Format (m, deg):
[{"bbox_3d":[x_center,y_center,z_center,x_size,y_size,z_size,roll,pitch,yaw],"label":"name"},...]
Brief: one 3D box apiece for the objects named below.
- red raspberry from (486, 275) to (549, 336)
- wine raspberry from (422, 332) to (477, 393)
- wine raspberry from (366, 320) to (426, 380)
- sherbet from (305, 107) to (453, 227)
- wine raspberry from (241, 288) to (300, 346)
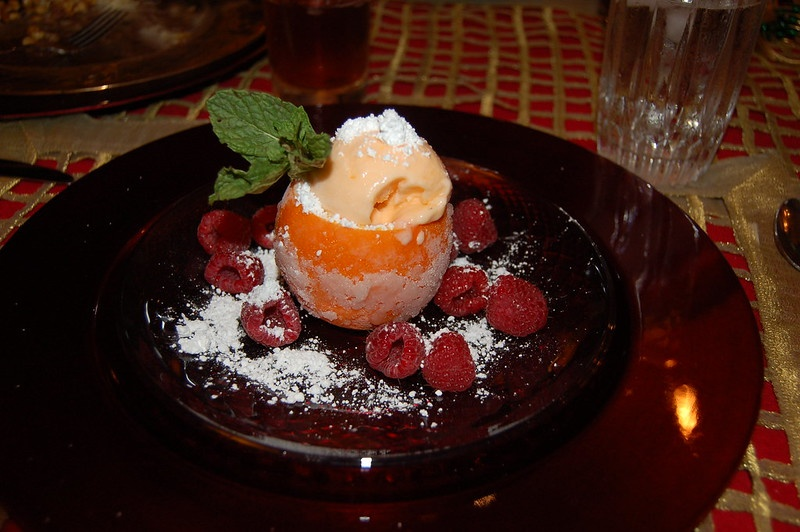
[{"bbox_3d":[0.331,0.118,2.071,0.138,0.103,0.172,-2,37,0],"label":"red raspberry"},{"bbox_3d":[0.134,0.262,2.059,0.196,0.122,0.149,7,28,16],"label":"wine raspberry"},{"bbox_3d":[-0.017,0.234,2.025,0.145,0.061,0.152,-7,49,-4],"label":"wine raspberry"},{"bbox_3d":[-0.096,-0.318,2.172,0.442,0.312,0.376,-11,29,-28],"label":"sherbet"},{"bbox_3d":[-0.363,0.160,2.053,0.137,0.070,0.165,-13,54,-26],"label":"wine raspberry"}]
